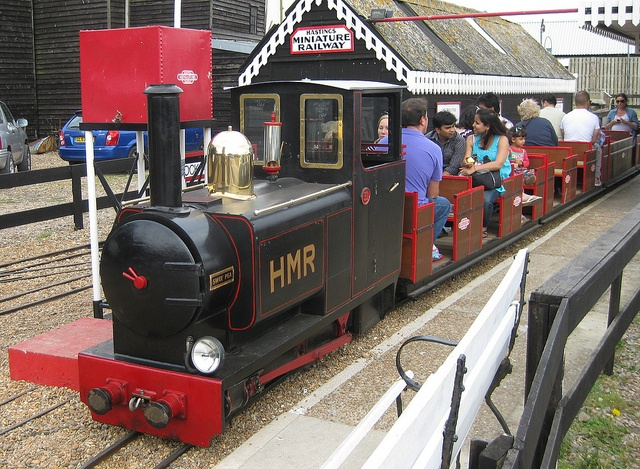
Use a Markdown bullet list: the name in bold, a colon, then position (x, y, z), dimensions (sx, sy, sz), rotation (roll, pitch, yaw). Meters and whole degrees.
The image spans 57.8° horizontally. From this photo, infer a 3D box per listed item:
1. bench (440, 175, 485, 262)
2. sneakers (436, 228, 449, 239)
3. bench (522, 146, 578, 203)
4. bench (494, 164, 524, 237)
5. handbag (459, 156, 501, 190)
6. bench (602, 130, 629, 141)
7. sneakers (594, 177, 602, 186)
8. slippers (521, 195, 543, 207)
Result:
- **bench**: position (1.911, -0.375, 8.298), dimensions (0.463, 1.012, 0.877), rotation (-12, 24, -15)
- **sneakers**: position (1.852, -0.027, 8.821), dimensions (0.091, 0.232, 0.280), rotation (-2, 5, 23)
- **bench**: position (4.784, -1.162, 11.896), dimensions (0.683, 1.067, 1.038), rotation (-13, -1, 8)
- **bench**: position (2.919, -0.559, 9.461), dimensions (0.517, 1.039, 0.900), rotation (7, 13, 41)
- **handbag**: position (2.517, -0.971, 8.818), dimensions (0.411, 0.552, 0.269), rotation (-2, -1, -4)
- **bench**: position (7.580, -2.544, 14.880), dimensions (0.448, 0.416, 0.121), rotation (2, 13, 10)
- **sneakers**: position (6.260, -1.203, 13.074), dimensions (0.094, 0.160, 0.328), rotation (2, 19, 18)
- **slippers**: position (3.691, -0.645, 10.194), dimensions (0.434, 0.205, 0.178), rotation (-11, 16, -22)
